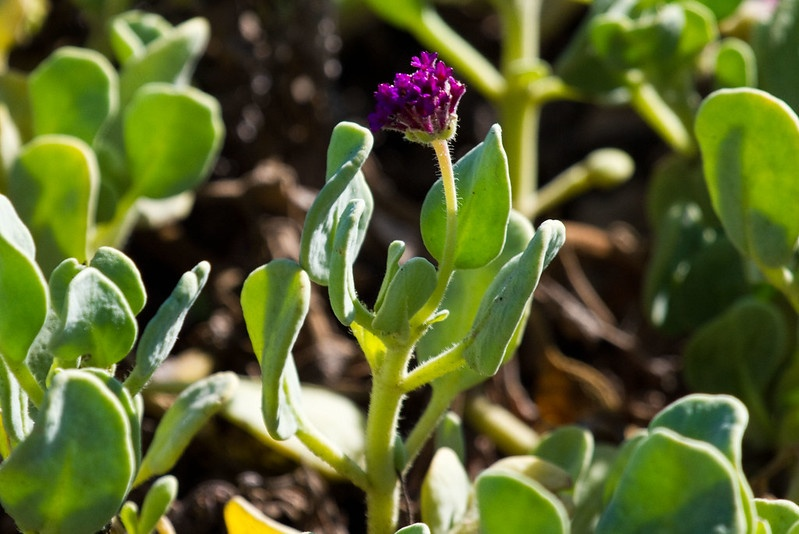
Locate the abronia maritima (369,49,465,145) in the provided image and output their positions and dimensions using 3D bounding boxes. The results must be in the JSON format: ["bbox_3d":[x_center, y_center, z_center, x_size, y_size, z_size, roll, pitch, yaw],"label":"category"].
[{"bbox_3d":[0.015,-0.153,0.887,0.086,0.078,0.065,-2,19,1],"label":"abronia maritima"}]
